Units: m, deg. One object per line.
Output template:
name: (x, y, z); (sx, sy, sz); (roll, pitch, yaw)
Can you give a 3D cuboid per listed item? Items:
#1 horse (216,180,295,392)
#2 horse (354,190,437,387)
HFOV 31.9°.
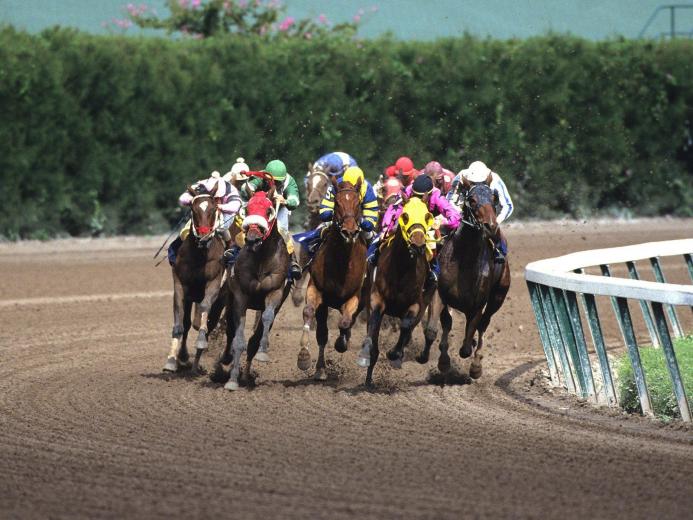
horse: (-1.290, 0.366, 16.257); (1.041, 2.595, 1.153); (-2, 13, -11)
horse: (0.672, 0.411, 15.967); (0.975, 2.521, 1.059); (2, 12, 4)
